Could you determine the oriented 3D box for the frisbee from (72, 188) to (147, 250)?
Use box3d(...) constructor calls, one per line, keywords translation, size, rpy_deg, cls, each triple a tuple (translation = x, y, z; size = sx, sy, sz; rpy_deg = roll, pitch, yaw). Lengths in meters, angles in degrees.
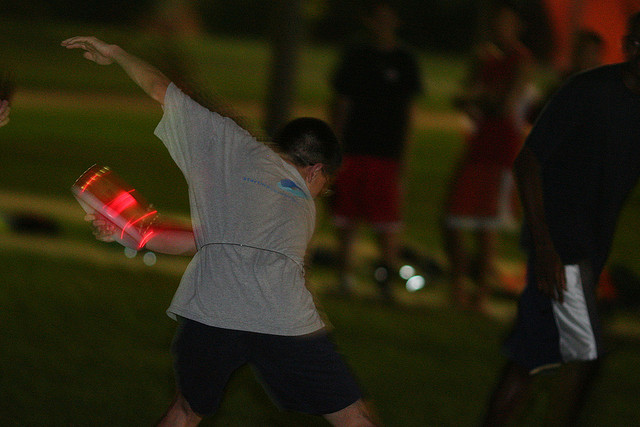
box3d(translation=(-1.489, 0.044, 7.082), size=(0.682, 0.188, 0.153), rpy_deg=(32, 54, -1), cls="frisbee")
